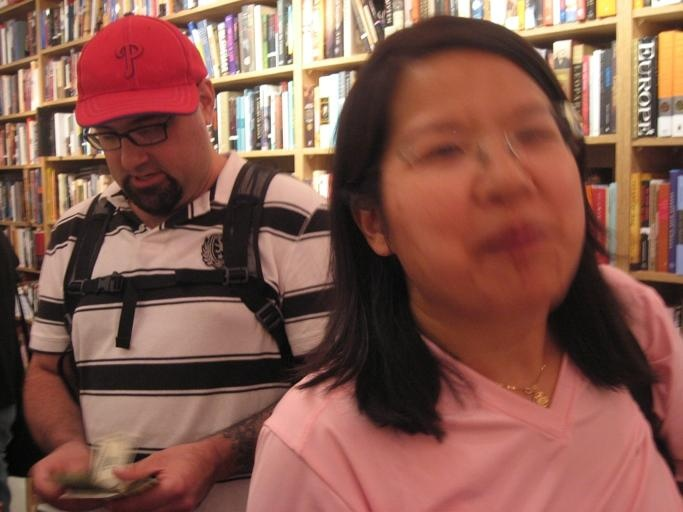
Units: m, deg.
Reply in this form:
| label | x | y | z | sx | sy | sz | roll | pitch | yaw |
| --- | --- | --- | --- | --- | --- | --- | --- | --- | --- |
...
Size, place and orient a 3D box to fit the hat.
| label | x | y | z | sx | sy | sz | roll | pitch | yaw |
| --- | --- | --- | --- | --- | --- | --- | --- | --- | --- |
| hat | -0.496 | -0.454 | 1.512 | 0.217 | 0.177 | 0.322 | -2 | 21 | -1 |

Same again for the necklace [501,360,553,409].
| label | x | y | z | sx | sy | sz | roll | pitch | yaw |
| --- | --- | --- | --- | --- | --- | --- | --- | --- | --- |
| necklace | 0.244 | 0.169 | 0.808 | 0.046 | 0.052 | 0.015 | -18 | -21 | -13 |
